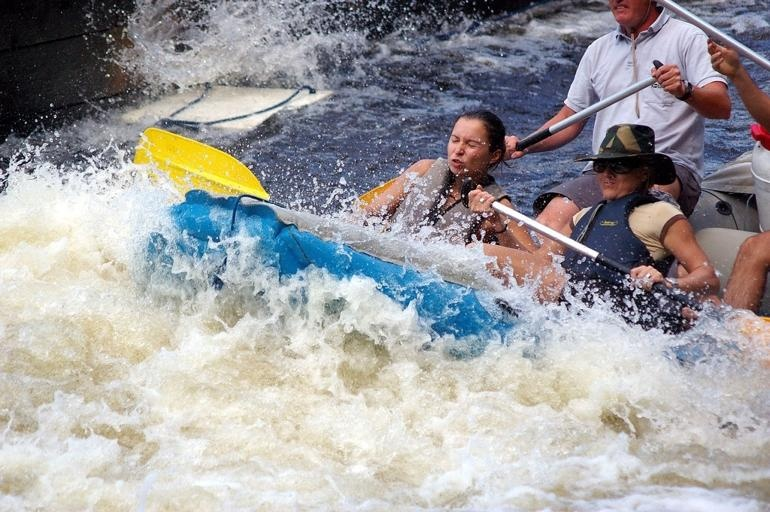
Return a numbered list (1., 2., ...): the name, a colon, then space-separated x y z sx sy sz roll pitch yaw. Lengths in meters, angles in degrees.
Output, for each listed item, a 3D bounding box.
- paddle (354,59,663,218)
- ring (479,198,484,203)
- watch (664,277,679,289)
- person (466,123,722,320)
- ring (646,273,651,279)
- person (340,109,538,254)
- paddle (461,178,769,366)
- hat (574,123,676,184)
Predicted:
1. paddle: 0.865 -0.807 7.771 2.651 0.355 0.270 -29 35 -2
2. ring: 0.570 -0.328 6.412 0.029 0.028 0.007 7 0 11
3. watch: 1.590 0.143 6.073 0.054 0.024 0.066 0 22 -5
4. person: 1.260 -0.073 6.532 1.039 1.281 1.690 11 -7 -41
5. ring: 1.455 0.106 6.037 0.026 0.024 0.044 9 5 31
6. person: 0.363 -0.472 7.267 0.806 0.619 1.377 15 46 36
7. paddle: 1.313 0.048 6.225 1.719 0.780 0.640 3 32 19
8. hat: 1.491 -0.590 6.359 0.410 0.178 0.390 23 -18 -36
